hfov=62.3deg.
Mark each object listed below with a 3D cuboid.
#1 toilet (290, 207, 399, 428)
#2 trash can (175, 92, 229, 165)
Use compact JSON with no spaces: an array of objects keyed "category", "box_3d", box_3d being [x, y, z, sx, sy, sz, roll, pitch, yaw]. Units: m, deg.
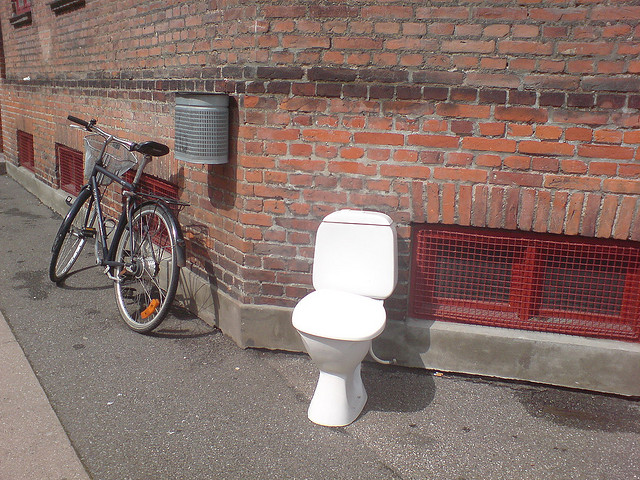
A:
[{"category":"toilet","box_3d":[0.178,0.535,3.892,0.728,1.387,1.030,7,16,21]},{"category":"trash can","box_3d":[-0.939,-0.916,4.472,0.319,0.501,0.541,3,17,0]}]
